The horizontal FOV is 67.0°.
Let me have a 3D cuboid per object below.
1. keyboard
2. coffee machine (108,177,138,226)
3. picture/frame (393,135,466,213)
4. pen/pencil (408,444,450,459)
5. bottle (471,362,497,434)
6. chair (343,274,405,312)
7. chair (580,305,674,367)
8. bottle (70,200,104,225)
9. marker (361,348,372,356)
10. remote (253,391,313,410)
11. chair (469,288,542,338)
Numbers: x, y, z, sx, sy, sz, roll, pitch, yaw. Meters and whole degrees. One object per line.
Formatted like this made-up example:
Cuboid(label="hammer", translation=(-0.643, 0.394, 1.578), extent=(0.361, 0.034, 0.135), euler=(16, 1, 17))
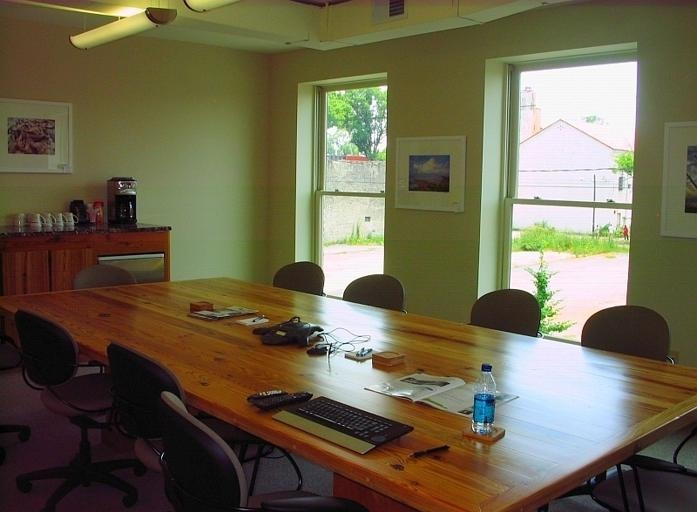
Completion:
Cuboid(label="keyboard", translation=(-0.034, 0.630, 1.979), extent=(0.493, 0.035, 0.242), euler=(8, 11, 37))
Cuboid(label="coffee machine", translation=(-2.527, -0.621, 5.869), extent=(0.291, 0.519, 0.345), euler=(-3, 10, -25))
Cuboid(label="picture/frame", translation=(0.892, -0.876, 5.563), extent=(0.836, 0.763, 0.062), euler=(9, 14, 41))
Cuboid(label="pen/pencil", translation=(0.277, 0.675, 1.809), extent=(0.135, 0.015, 0.015), euler=(-3, 7, -36))
Cuboid(label="bottle", translation=(0.505, 0.522, 1.943), extent=(0.085, 0.237, 0.144), euler=(4, 10, 16))
Cuboid(label="chair", translation=(0.246, 0.235, 4.257), extent=(0.361, 0.459, 0.343), euler=(2, 4, 25))
Cuboid(label="chair", translation=(1.683, 0.412, 3.261), extent=(0.401, 0.537, 0.405), euler=(0, 5, 35))
Cuboid(label="bottle", translation=(-2.870, -0.478, 5.778), extent=(0.368, 0.344, 0.230), euler=(-3, 8, -13))
Cuboid(label="marker", translation=(0.097, 0.509, 2.796), extent=(0.022, 0.022, 0.093), euler=(5, 8, 22))
Cuboid(label="remote", translation=(-0.274, 0.590, 2.155), extent=(0.155, 0.037, 0.084), euler=(-3, 2, -35))
Cuboid(label="chair", translation=(1.103, 0.352, 3.714), extent=(0.356, 0.496, 0.374), euler=(1, 3, 32))
